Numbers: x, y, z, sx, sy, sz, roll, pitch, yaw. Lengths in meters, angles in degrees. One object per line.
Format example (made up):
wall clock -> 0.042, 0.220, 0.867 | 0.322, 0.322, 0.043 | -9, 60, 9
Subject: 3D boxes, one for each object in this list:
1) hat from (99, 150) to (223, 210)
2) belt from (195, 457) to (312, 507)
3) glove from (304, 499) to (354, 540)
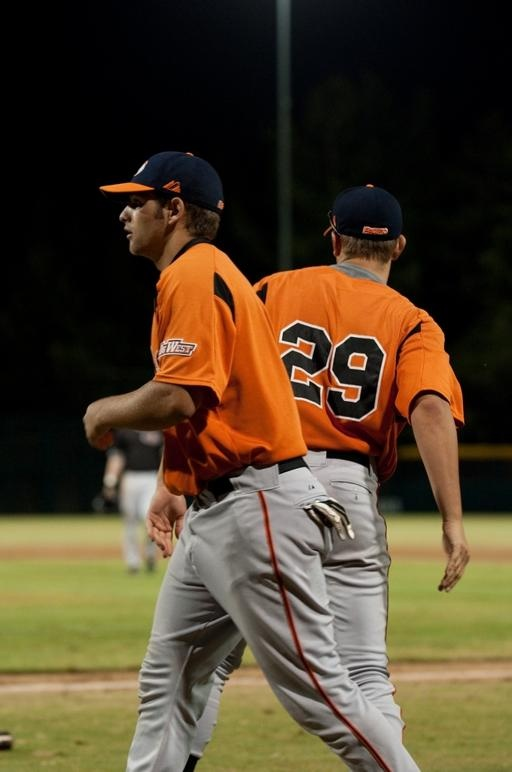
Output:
hat -> -0.239, -0.553, 2.839 | 0.253, 0.119, 0.173 | 4, 8, -2
belt -> -0.019, 0.244, 2.609 | 0.212, 0.055, 0.142 | -21, -15, -5
glove -> 0.168, 0.353, 2.596 | 0.037, 0.111, 0.113 | -47, -7, 20
